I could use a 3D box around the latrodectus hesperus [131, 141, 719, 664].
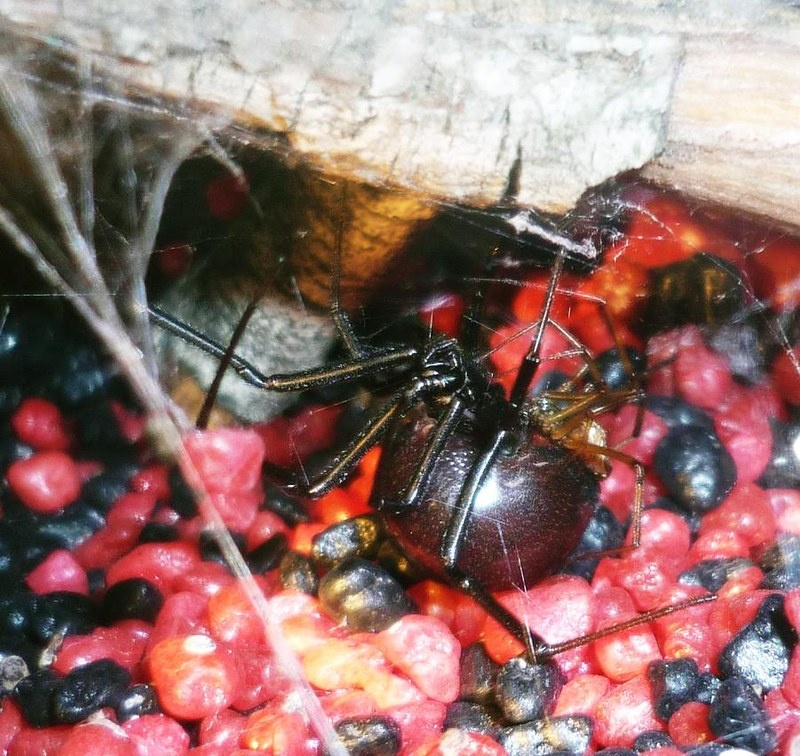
[{"bbox_3d":[0.079,0.077,1.207,0.728,0.219,0.352,37,67,18],"label":"latrodectus hesperus"}]
